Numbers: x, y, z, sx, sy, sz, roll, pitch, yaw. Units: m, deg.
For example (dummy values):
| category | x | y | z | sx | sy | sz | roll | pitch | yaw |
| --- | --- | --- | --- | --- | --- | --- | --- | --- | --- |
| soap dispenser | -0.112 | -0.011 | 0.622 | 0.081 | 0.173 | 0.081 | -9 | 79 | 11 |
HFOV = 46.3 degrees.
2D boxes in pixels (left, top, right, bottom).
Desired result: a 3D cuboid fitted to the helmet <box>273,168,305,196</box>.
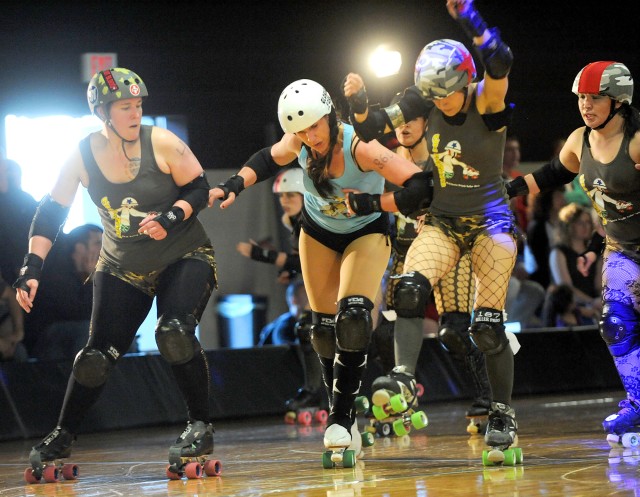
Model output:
| category | x | y | z | sx | sy | sz | roll | pitch | yaw |
| --- | --- | --- | --- | --- | --- | --- | --- | --- | --- |
| helmet | -0.294 | -0.648 | 7.207 | 0.280 | 0.308 | 0.360 | -1 | -6 | 14 |

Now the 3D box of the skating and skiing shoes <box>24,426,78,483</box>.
| category | x | y | z | sx | sy | sz | roll | pitch | yaw |
| --- | --- | --- | --- | --- | --- | --- | --- | --- | --- |
| skating and skiing shoes | -1.565 | 1.198 | 4.375 | 0.217 | 0.297 | 0.299 | -8 | -12 | 24 |

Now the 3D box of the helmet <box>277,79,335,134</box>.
| category | x | y | z | sx | sy | sz | roll | pitch | yaw |
| --- | --- | --- | --- | --- | --- | --- | --- | --- | --- |
| helmet | -0.088 | -0.806 | 4.336 | 0.258 | 0.269 | 0.338 | -18 | 8 | 19 |

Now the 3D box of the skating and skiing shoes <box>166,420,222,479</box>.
| category | x | y | z | sx | sy | sz | roll | pitch | yaw |
| --- | --- | --- | --- | --- | --- | --- | --- | --- | --- |
| skating and skiing shoes | -0.717 | 1.133 | 4.197 | 0.278 | 0.291 | 0.394 | -8 | -10 | 16 |

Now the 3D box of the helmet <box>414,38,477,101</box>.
| category | x | y | z | sx | sy | sz | roll | pitch | yaw |
| --- | --- | --- | --- | --- | --- | --- | --- | --- | --- |
| helmet | 0.703 | -1.023 | 4.334 | 0.284 | 0.305 | 0.377 | 2 | 26 | 37 |

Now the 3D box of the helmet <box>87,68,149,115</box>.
| category | x | y | z | sx | sy | sz | roll | pitch | yaw |
| --- | --- | --- | --- | --- | --- | --- | --- | --- | --- |
| helmet | -1.198 | -0.920 | 4.420 | 0.313 | 0.280 | 0.274 | 10 | 3 | 7 |

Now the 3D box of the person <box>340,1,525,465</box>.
| category | x | y | z | sx | sy | sz | roll | pitch | yaw |
| --- | --- | --- | --- | --- | --- | --- | --- | --- | --- |
| person | 0.751 | -0.051 | 4.294 | 0.880 | 2.497 | 0.826 | -6 | -5 | 11 |

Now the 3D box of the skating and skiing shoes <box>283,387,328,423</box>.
| category | x | y | z | sx | sy | sz | roll | pitch | yaw |
| --- | --- | --- | --- | --- | --- | --- | --- | --- | --- |
| skating and skiing shoes | -0.115 | 1.459 | 6.982 | 0.418 | 0.194 | 0.293 | 1 | -5 | -33 |

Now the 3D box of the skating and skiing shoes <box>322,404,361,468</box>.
| category | x | y | z | sx | sy | sz | roll | pitch | yaw |
| --- | --- | --- | --- | --- | --- | --- | --- | --- | --- |
| skating and skiing shoes | 0.116 | 1.115 | 4.273 | 0.188 | 0.246 | 0.318 | -6 | -4 | 10 |
